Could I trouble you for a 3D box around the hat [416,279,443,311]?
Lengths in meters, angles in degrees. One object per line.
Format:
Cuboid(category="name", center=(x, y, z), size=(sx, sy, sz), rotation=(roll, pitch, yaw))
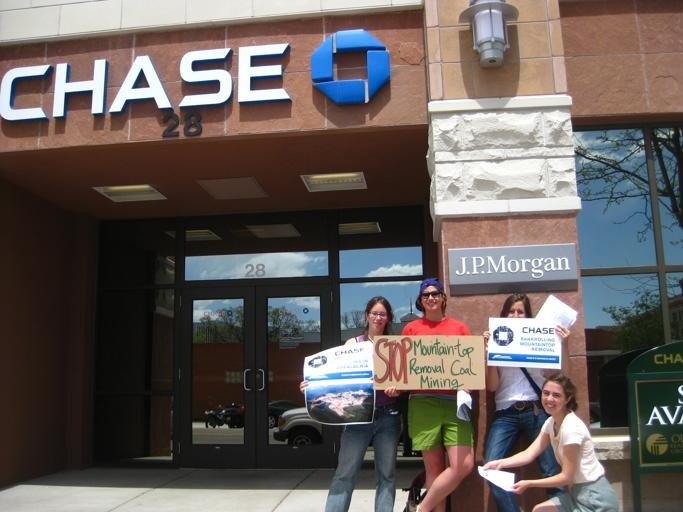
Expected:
Cuboid(category="hat", center=(0.865, 0.385, 6.721), size=(0.302, 0.312, 0.134), rotation=(-2, -6, 4))
